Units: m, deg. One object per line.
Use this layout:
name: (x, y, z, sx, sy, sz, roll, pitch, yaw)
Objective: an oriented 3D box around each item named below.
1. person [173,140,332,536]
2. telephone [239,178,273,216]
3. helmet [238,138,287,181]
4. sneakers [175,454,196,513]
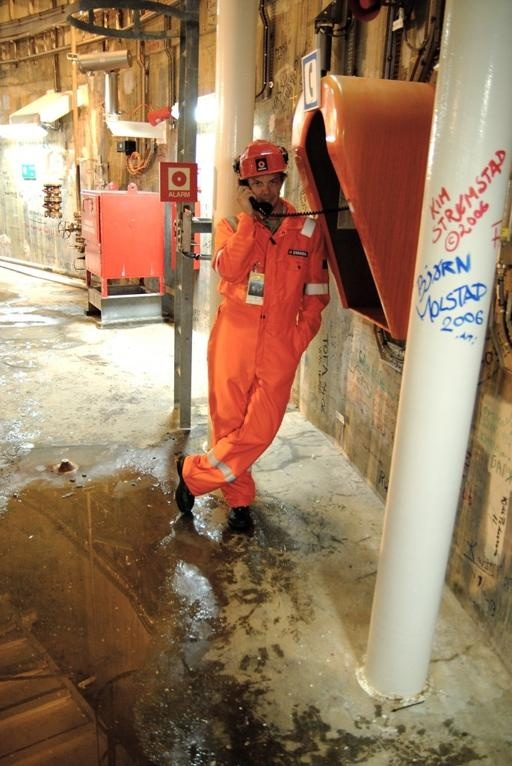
person: (-0.016, -0.124, 2.639, 0.697, 1.865, 0.414, 0, 20, -8)
telephone: (0.003, -0.788, 2.455, 0.149, 0.129, 0.072, 3, 20, -1)
helmet: (0.027, -0.937, 2.384, 0.207, 0.162, 0.193, 2, 20, -3)
sneakers: (-0.374, 0.548, 2.975, 0.108, 0.314, 0.129, -9, 10, -35)
